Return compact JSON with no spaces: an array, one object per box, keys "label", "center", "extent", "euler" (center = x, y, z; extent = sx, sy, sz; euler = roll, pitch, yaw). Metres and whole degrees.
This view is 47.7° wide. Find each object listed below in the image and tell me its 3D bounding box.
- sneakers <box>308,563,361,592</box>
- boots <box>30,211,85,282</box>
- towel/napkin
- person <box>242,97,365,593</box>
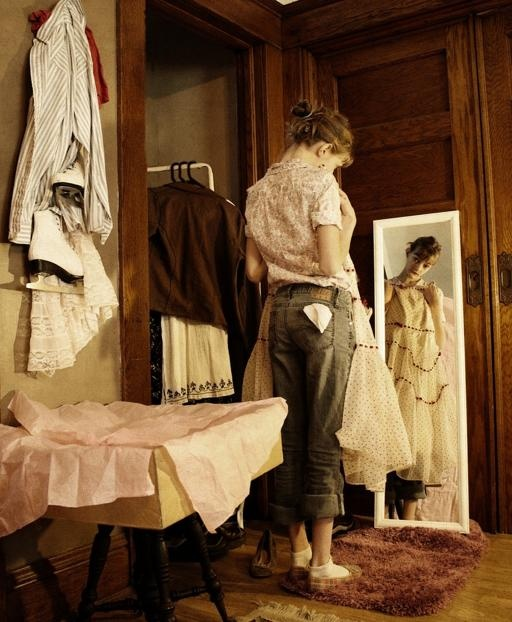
[{"label":"sneakers","center":[0.260,0.858,1.949],"extent":[0.213,0.090,0.071],"euler":[-2,-1,-44]},{"label":"boots","center":[-0.588,-0.196,1.720],"extent":[0.087,0.188,0.248],"euler":[7,-2,19]},{"label":"towel/napkin","center":[-0.263,0.200,2.508],"extent":[0.320,0.368,0.078],"euler":[-2,-5,-34]},{"label":"person","center":[0.194,0.084,2.044],"extent":[0.306,1.646,0.467],"euler":[-1,-5,-41]}]
